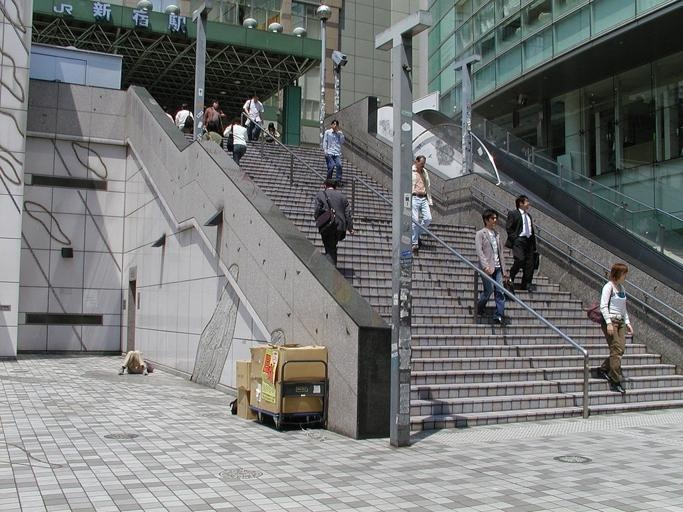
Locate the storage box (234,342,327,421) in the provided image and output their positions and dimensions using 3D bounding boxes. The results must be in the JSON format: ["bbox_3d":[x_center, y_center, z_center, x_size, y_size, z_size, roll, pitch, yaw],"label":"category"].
[{"bbox_3d":[-1.069,2.127,14.541,0.870,1.483,1.571,4,-4,-29],"label":"storage box"}]

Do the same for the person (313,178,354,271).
[{"bbox_3d":[-0.153,-0.593,16.400,0.709,1.631,0.491,-2,9,-12],"label":"person"}]

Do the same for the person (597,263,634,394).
[{"bbox_3d":[5.049,1.323,15.629,0.559,2.278,0.616,2,9,14],"label":"person"}]

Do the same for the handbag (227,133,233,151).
[{"bbox_3d":[-2.971,-2.989,22.571,0.155,0.575,0.383,-1,5,-17],"label":"handbag"}]

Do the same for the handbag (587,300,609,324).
[{"bbox_3d":[4.816,1.005,15.923,0.239,0.578,0.375,13,-19,12],"label":"handbag"}]

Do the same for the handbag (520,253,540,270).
[{"bbox_3d":[3.983,0.170,17.856,0.222,0.433,0.353,4,-1,15],"label":"handbag"}]

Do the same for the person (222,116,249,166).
[{"bbox_3d":[-2.792,-2.943,22.419,0.441,1.525,0.456,1,32,-6],"label":"person"}]

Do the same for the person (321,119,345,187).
[{"bbox_3d":[-0.211,-2.662,22.220,0.495,1.636,1.546,0,9,0],"label":"person"}]

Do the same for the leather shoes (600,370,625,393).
[{"bbox_3d":[4.996,2.320,15.614,0.188,0.337,0.651,1,3,-18],"label":"leather shoes"}]
